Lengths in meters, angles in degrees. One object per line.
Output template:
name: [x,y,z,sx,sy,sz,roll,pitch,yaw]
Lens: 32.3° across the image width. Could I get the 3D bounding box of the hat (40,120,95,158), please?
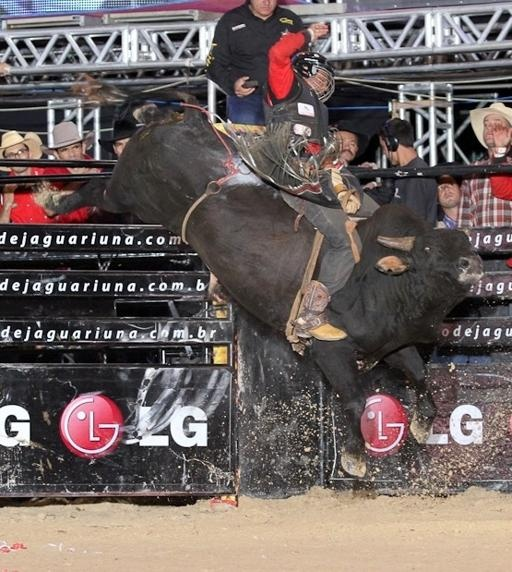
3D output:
hat: [-1.432,-1.088,6.874,0.355,0.137,0.399,-16,-3,-5]
